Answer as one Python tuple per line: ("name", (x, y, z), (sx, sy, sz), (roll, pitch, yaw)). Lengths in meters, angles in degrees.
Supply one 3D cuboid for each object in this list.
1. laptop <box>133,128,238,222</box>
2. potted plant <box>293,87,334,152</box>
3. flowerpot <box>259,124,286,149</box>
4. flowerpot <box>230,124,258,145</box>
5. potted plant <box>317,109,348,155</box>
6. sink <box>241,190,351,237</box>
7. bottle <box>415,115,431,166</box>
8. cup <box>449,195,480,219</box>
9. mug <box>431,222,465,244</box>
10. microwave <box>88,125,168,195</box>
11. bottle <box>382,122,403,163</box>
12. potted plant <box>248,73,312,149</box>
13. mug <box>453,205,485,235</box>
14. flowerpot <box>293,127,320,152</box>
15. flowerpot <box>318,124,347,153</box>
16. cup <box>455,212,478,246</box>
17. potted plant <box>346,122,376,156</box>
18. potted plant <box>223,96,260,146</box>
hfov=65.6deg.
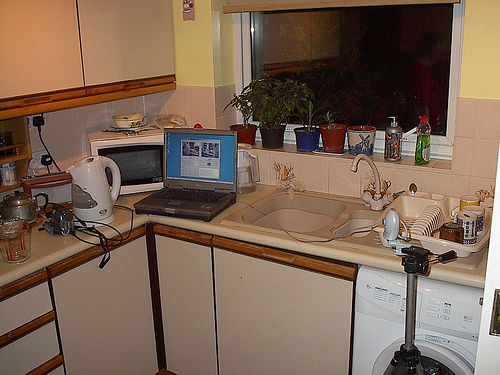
("laptop", (-0.365, -0.100, 2.258), (0.492, 0.483, 0.401), (5, 15, 22))
("potted plant", (0.381, -0.431, 2.602), (0.256, 0.365, 0.230), (9, 8, 25))
("flowerpot", (0.157, -0.357, 2.713), (0.154, 0.124, 0.162), (8, 20, 26))
("flowerpot", (-0.040, -0.376, 2.768), (0.144, 0.116, 0.152), (-1, 16, 1))
("potted plant", (0.554, -0.366, 2.545), (0.168, 0.268, 0.201), (7, 26, 20))
("sink", (0.280, 0.159, 2.406), (0.661, 0.223, 0.364), (-2, 14, -1))
("bottle", (1.032, -0.286, 2.312), (0.087, 0.275, 0.245), (4, 15, 23))
("cup", (1.040, 0.097, 1.881), (0.096, 0.104, 0.056), (-11, 30, 0))
("mug", (0.905, 0.191, 1.782), (0.082, 0.161, 0.091), (-3, 6, -39))
("microwave", (-0.783, -0.102, 2.580), (0.297, 0.425, 0.562), (-20, -4, 40))
("bottle", (0.884, -0.292, 2.397), (0.116, 0.233, 0.228), (3, 15, 21))
("potted plant", (0.206, -0.505, 2.674), (0.466, 0.478, 0.349), (-18, 6, -34))
("mug", (0.984, 0.147, 1.789), (0.139, 0.137, 0.109), (0, 12, 20))
("flowerpot", (0.371, -0.328, 2.574), (0.140, 0.116, 0.146), (-16, 23, -42))
("flowerpot", (0.550, -0.329, 2.516), (0.174, 0.160, 0.166), (-12, 16, -38))
("cup", (0.991, 0.186, 1.782), (0.092, 0.153, 0.100), (-4, 13, 1))
("potted plant", (0.727, -0.314, 2.482), (0.206, 0.194, 0.158), (-11, 17, -35))
("potted plant", (-0.049, -0.478, 2.761), (0.193, 0.331, 0.246), (6, 14, 37))
